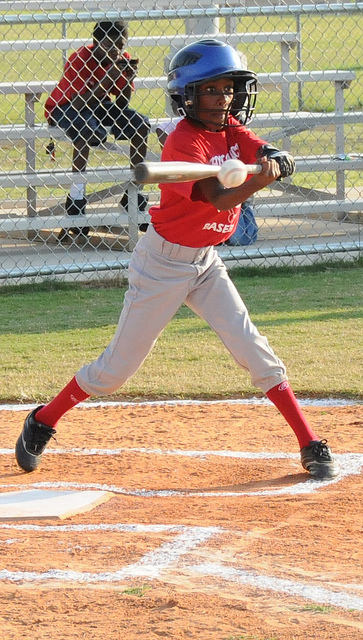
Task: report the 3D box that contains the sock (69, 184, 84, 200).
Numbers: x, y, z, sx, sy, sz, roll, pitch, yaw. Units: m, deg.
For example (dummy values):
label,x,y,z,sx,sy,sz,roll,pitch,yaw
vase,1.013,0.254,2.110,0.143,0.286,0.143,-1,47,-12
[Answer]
label,x,y,z,sx,sy,sz,roll,pitch,yaw
sock,-0.821,-1.010,5.581,0.104,0.138,0.214,0,-1,-9

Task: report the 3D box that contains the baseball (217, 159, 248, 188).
label,x,y,z,sx,sy,sz,roll,pitch,yaw
baseball,0.122,-0.356,1.725,0.075,0.075,0.067,-1,5,11
